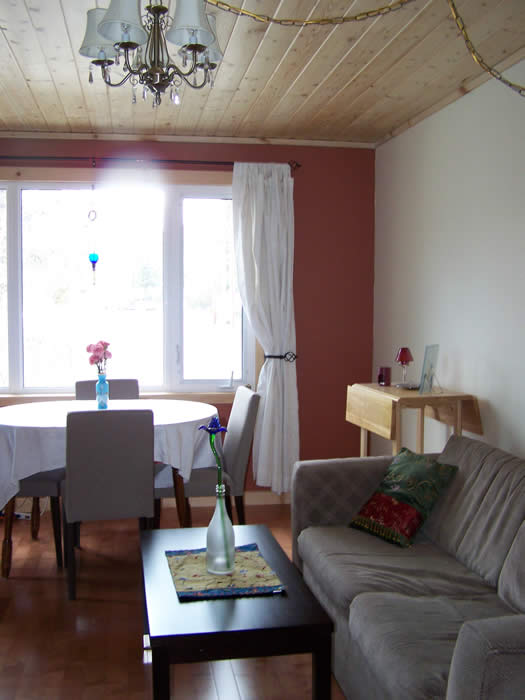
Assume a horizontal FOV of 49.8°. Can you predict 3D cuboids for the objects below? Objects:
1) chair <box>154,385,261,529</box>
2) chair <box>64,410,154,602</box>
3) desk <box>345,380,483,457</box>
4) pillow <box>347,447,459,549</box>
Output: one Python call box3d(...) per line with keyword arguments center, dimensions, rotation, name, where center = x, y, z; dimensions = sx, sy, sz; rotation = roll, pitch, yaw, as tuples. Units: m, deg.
box3d(center=(-0.295, 0.629, 3.232), dimensions=(0.493, 0.651, 0.486), rotation=(3, 1, 28), name="chair")
box3d(center=(-0.743, 0.684, 2.771), dimensions=(0.391, 0.870, 0.466), rotation=(0, 4, -15), name="chair")
box3d(center=(0.854, 0.481, 3.180), dimensions=(0.450, 0.576, 0.759), rotation=(-2, 4, 0), name="desk")
box3d(center=(0.609, 0.616, 2.388), dimensions=(0.428, 0.104, 0.454), rotation=(10, 39, 35), name="pillow")
